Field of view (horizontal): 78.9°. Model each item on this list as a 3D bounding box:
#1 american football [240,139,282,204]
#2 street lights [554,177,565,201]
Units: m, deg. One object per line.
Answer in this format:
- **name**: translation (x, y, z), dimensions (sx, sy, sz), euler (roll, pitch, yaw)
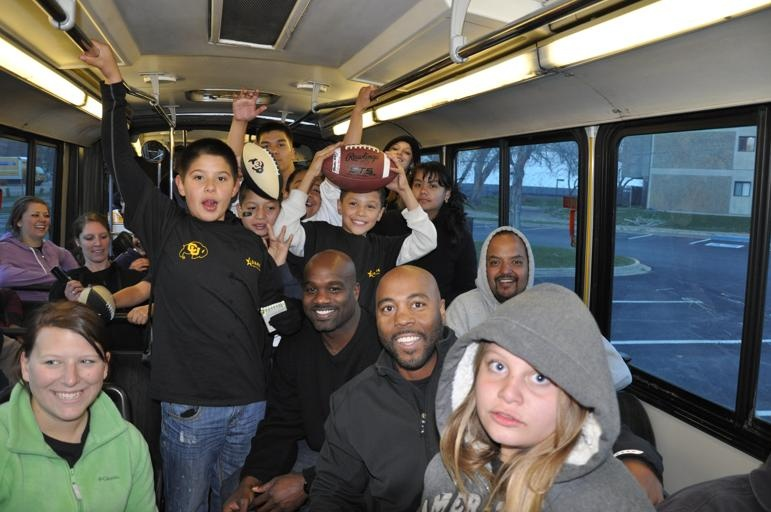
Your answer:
- **american football**: translation (-1.034, -0.726, 3.998), dimensions (0.290, 0.471, 0.328), euler (-40, 21, -5)
- **street lights**: translation (1.954, -0.771, 5.294), dimensions (0.026, 0.229, 0.164), euler (-1, 9, -12)
